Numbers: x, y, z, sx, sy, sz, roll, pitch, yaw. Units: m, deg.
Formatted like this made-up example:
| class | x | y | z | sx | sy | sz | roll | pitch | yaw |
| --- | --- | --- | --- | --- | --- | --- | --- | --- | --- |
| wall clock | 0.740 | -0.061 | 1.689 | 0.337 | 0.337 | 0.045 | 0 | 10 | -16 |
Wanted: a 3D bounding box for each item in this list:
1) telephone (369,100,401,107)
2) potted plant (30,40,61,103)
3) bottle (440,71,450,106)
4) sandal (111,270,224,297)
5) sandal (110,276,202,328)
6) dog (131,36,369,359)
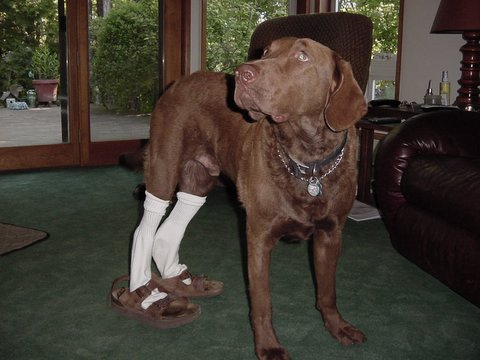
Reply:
| class | x | y | z | sx | sy | sz | roll | pitch | yaw |
| --- | --- | --- | --- | --- | --- | --- | --- | --- | --- |
| telephone | 1.473 | -0.776 | 3.897 | 0.288 | 0.072 | 0.159 | 7 | 16 | 17 |
| potted plant | -2.792 | -1.528 | 5.432 | 0.335 | 0.783 | 0.465 | 7 | 15 | 21 |
| bottle | 2.096 | -0.940 | 3.916 | 0.102 | 0.322 | 0.283 | 9 | 17 | 26 |
| sandal | -0.445 | 0.648 | 2.438 | 0.662 | 0.206 | 0.244 | 4 | 7 | -7 |
| sandal | -0.515 | 0.696 | 2.209 | 0.537 | 0.213 | 0.233 | 11 | 19 | 13 |
| dog | 0.025 | 0.094 | 1.883 | 1.083 | 1.469 | 0.709 | 16 | 21 | 42 |
